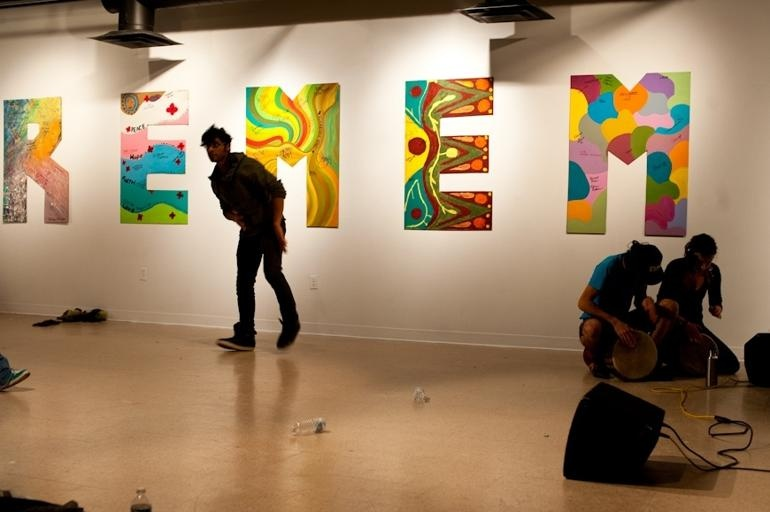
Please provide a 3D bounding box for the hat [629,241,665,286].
[{"bbox_3d":[2.320,0.062,5.117,0.438,0.392,0.229,-5,9,-38],"label":"hat"}]

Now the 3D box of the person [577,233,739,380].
[{"bbox_3d":[2.559,0.492,5.352,1.109,0.979,0.666,6,-17,-13],"label":"person"}]

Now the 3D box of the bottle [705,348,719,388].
[{"bbox_3d":[2.815,0.952,5.045,0.096,0.293,0.284,5,8,30],"label":"bottle"}]

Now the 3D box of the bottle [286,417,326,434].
[{"bbox_3d":[-0.533,1.138,4.053,0.252,0.068,0.238,1,7,0],"label":"bottle"}]

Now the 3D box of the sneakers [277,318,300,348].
[{"bbox_3d":[-0.978,0.770,5.906,0.224,0.329,0.222,-2,8,-16],"label":"sneakers"}]

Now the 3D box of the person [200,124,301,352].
[{"bbox_3d":[-1.327,-0.163,5.917,0.978,2.240,0.341,2,7,11],"label":"person"}]

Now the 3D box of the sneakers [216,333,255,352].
[{"bbox_3d":[-1.491,0.872,5.997,0.392,0.276,0.150,6,-8,-6],"label":"sneakers"}]
